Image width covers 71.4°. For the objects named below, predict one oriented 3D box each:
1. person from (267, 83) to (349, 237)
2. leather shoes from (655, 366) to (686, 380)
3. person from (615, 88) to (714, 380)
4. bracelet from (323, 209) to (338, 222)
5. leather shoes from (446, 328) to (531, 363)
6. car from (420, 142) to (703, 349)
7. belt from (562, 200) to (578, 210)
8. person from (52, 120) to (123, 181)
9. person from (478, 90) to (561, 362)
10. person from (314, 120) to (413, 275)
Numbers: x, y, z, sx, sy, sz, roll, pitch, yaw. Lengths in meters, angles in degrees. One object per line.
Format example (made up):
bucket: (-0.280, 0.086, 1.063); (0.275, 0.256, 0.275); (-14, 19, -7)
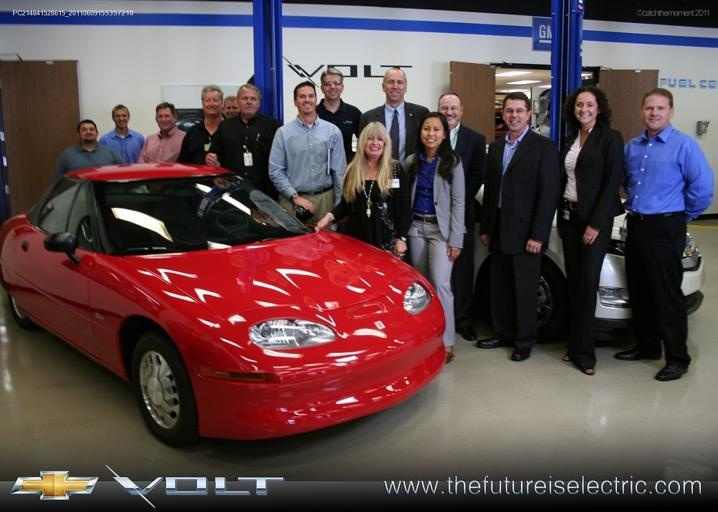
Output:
person: (-0.471, -0.560, 4.535); (0.694, 1.877, 0.546); (-4, 35, -10)
leather shoes: (2.282, 0.850, 3.687); (0.259, 0.083, 0.095); (-7, 18, -25)
person: (2.225, -0.161, 3.678); (0.590, 2.057, 0.564); (5, 16, 28)
bracelet: (-0.222, -0.325, 3.963); (0.078, 0.034, 0.110); (23, 13, -16)
leather shoes: (1.153, 0.737, 4.105); (0.445, 0.198, 0.169); (-5, 22, -4)
car: (1.804, 0.108, 4.459); (2.066, 1.004, 1.102); (-1, 3, 32)
belt: (1.624, -0.394, 3.869); (0.066, 0.050, 0.064); (-3, 4, -42)
person: (-3.208, -1.197, 5.976); (0.879, 0.800, 0.324); (-10, 10, -24)
person: (1.232, -0.230, 4.001); (0.603, 2.056, 0.512); (8, 17, 35)
person: (0.019, -0.222, 3.962); (0.705, 1.575, 0.490); (-2, 24, 0)
